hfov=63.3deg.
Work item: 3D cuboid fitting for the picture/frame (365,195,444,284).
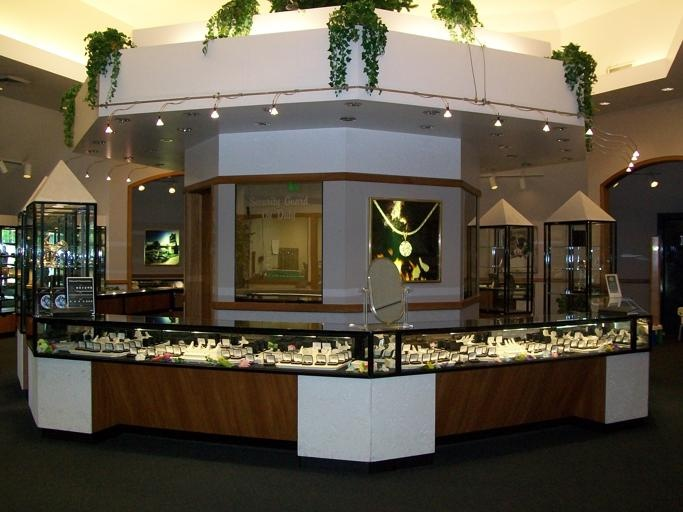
[{"bbox_3d":[0.846,-0.267,7.866,1.193,1.297,0.121,-2,6,-17],"label":"picture/frame"}]
